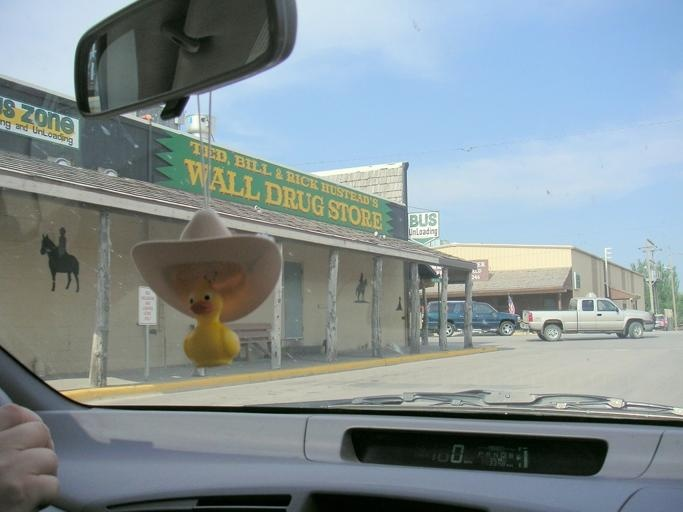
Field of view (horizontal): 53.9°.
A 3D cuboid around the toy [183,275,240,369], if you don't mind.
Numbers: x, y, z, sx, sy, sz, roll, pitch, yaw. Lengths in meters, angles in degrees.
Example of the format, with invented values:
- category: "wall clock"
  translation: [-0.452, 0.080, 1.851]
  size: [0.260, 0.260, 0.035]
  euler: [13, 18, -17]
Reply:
- category: "toy"
  translation: [-0.403, 0.208, 2.062]
  size: [0.168, 0.264, 0.160]
  euler: [-8, -9, 10]
